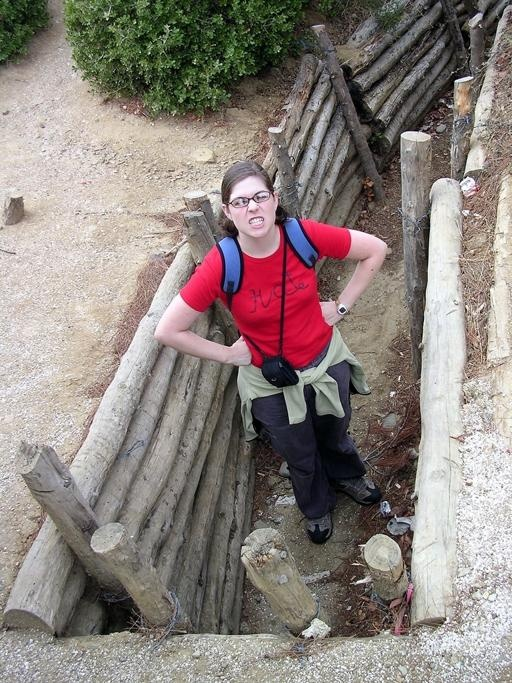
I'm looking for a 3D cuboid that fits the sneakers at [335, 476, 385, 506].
[{"bbox_3d":[0.757,1.067,4.363,0.379,0.243,0.146,10,69,24],"label":"sneakers"}]

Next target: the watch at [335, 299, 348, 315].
[{"bbox_3d":[0.487,-0.190,3.459,0.051,0.081,0.079,-37,-6,0],"label":"watch"}]
